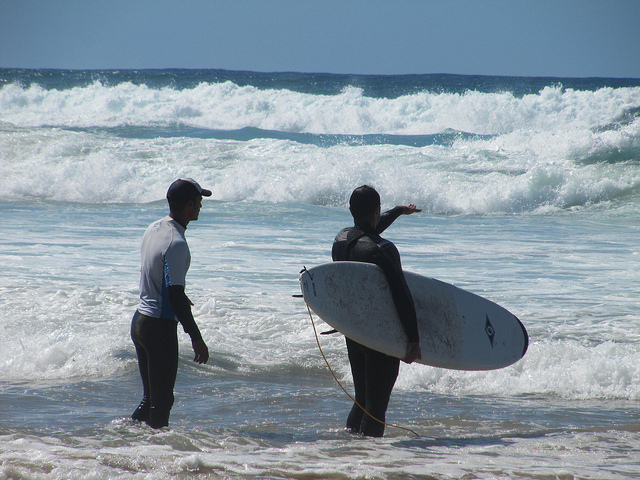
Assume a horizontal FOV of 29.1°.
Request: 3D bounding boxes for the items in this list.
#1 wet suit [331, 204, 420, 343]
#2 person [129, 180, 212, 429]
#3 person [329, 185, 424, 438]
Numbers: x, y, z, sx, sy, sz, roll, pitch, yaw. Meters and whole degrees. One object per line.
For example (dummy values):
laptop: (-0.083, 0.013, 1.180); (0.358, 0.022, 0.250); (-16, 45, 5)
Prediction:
wet suit: (0.754, 0.584, 17.001); (1.329, 1.520, 0.240); (7, 6, 22)
person: (-2.069, 0.887, 16.792); (0.959, 3.441, 0.433); (6, 6, 1)
person: (0.785, 0.982, 17.237); (1.352, 3.493, 0.800); (7, 6, 15)
